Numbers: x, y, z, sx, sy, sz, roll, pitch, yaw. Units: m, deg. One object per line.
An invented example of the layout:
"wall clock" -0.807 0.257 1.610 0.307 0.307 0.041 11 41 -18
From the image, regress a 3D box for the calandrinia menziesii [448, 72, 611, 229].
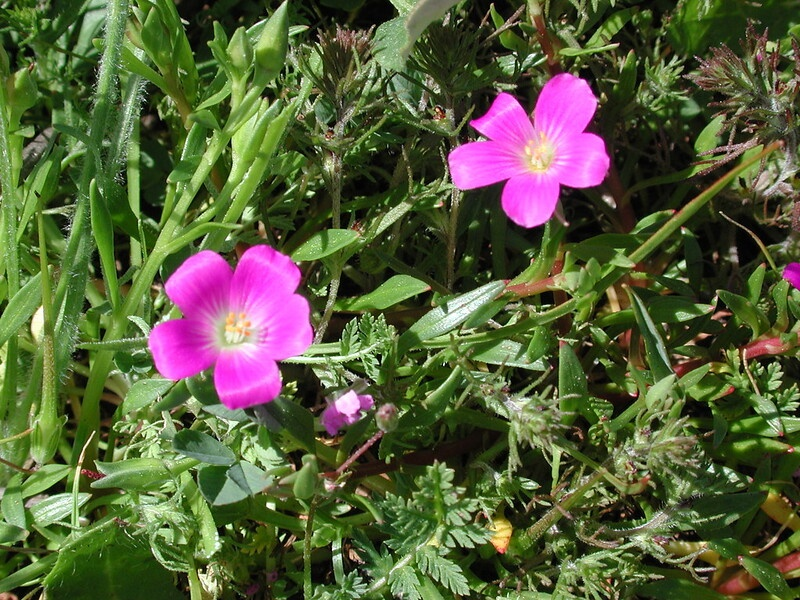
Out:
"calandrinia menziesii" 0.288 -0.329 1.482 0.327 0.126 0.347 32 72 16

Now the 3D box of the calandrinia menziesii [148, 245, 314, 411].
"calandrinia menziesii" -0.319 0.052 1.335 0.299 0.078 0.321 -9 67 0
